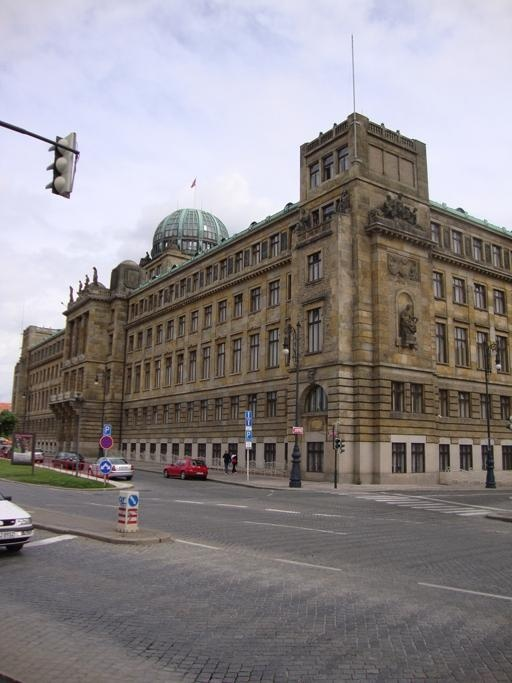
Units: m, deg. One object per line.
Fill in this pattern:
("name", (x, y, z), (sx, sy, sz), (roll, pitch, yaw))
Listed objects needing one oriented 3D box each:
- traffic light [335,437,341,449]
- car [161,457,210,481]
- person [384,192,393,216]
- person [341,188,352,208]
("traffic light", (4.856, 6.053, 33.778), (0.366, 0.511, 0.225), (0, -10, 2))
("car", (-4.867, 9.079, 40.778), (1.514, 1.199, 3.010), (9, -10, -41))
("person", (9.822, -10.001, 42.574), (0.917, 1.961, 0.508), (7, -12, -27))
("person", (6.614, -10.360, 42.003), (0.701, 1.395, 0.380), (-1, -11, 13))
